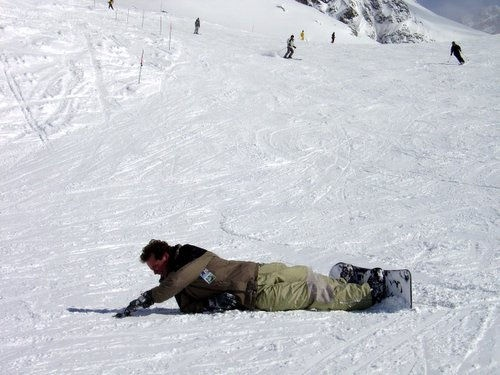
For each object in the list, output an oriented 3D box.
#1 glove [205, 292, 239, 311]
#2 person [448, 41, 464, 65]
[{"bbox_3d":[-0.522,2.137,10.177,0.577,0.300,0.210,-5,-3,2],"label":"glove"},{"bbox_3d":[9.846,-6.241,25.981,0.456,0.778,1.699,30,1,25],"label":"person"}]
